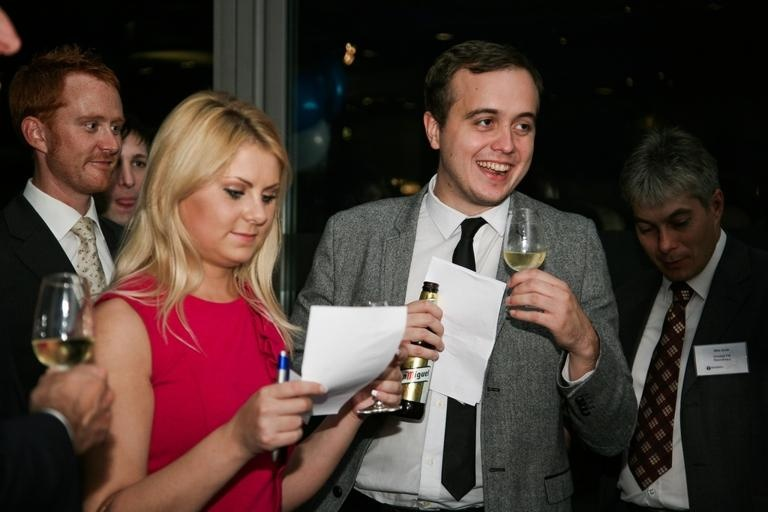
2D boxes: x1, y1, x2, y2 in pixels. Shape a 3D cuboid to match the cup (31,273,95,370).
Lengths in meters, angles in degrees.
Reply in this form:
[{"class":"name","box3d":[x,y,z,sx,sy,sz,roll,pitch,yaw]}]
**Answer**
[{"class":"cup","box3d":[-1.121,0.244,2.226,0.180,0.343,0.199,-6,13,-30]}]
